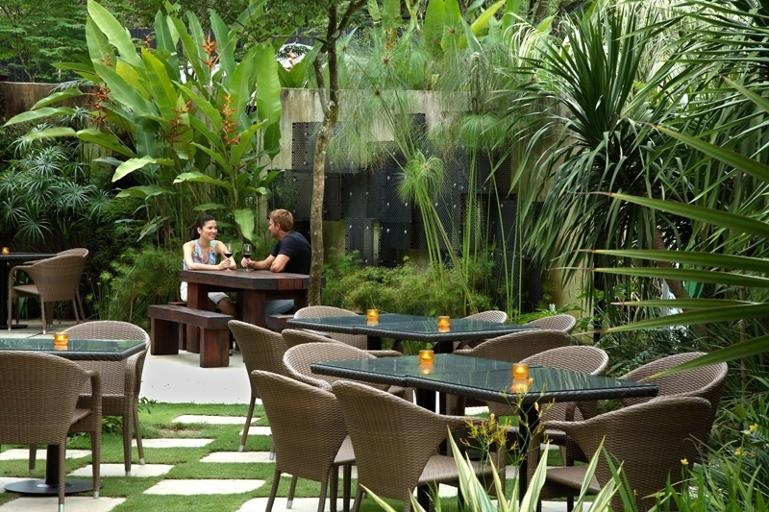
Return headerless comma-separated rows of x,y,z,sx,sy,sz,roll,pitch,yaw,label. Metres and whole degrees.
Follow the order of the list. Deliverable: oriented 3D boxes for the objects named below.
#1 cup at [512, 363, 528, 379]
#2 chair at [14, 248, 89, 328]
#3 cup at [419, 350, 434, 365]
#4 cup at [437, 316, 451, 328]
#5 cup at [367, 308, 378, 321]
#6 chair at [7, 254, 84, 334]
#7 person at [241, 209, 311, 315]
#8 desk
0.725,0.618,3.526,0.071,0.064,0.065,-9,2,1,cup
-5.752,0.553,11.387,1.157,1.669,1.261,5,4,28,chair
0.257,0.625,4.085,0.078,0.062,0.081,2,0,0,cup
0.472,0.526,5.380,0.094,0.113,0.094,1,6,0,cup
-0.118,0.522,5.882,0.089,0.082,0.093,1,4,0,cup
-5.752,0.603,11.141,1.074,1.583,1.191,4,3,25,chair
-1.506,0.197,9.427,0.931,1.645,0.681,-8,8,-14,person
-2.234,0.655,8.652,0.756,0.961,1.443,14,5,42,desk
